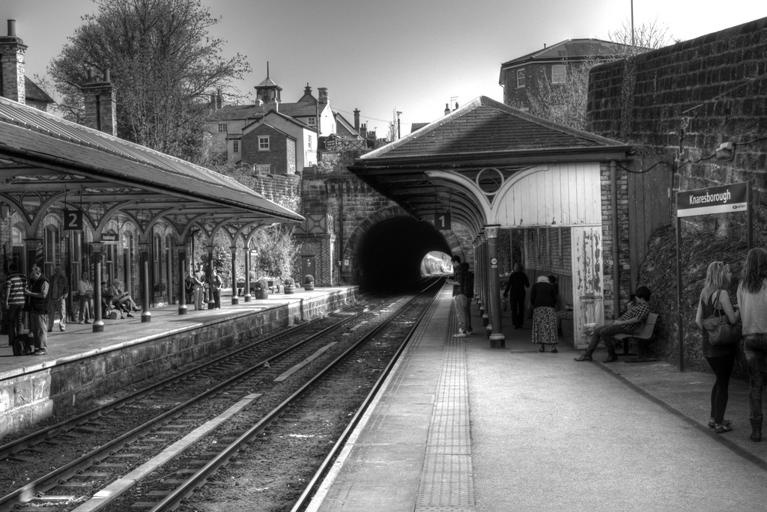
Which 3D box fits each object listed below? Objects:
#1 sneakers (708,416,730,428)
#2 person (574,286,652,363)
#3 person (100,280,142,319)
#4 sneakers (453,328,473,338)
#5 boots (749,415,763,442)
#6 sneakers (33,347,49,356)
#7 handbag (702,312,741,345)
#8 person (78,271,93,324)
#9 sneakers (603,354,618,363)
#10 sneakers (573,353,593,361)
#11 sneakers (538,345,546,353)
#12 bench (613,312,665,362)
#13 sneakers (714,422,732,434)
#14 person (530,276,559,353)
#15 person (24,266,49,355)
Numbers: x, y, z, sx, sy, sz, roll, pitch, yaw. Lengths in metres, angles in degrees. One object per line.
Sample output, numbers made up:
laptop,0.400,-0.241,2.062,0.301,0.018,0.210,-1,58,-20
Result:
sneakers,5.052,2.504,11.161,0.343,0.169,0.135,-4,4,-7
person,5.161,1.507,16.469,1.359,1.637,0.437,-2,0,26
person,-8.793,1.526,24.921,1.183,1.311,1.056,-2,6,-16
sneakers,2.283,2.252,21.763,0.604,0.321,0.235,-2,3,8
boots,5.340,2.504,10.677,0.161,0.372,0.361,-2,11,10
sneakers,-7.177,2.006,15.583,0.254,0.132,0.149,6,-7,-17
handbag,4.985,1.076,10.979,0.407,0.445,0.175,-2,8,15
person,-9.080,1.330,22.695,0.396,1.480,1.387,-1,0,-22
sneakers,4.965,2.285,16.551,0.426,0.195,0.155,1,3,8
sneakers,4.488,2.287,16.742,0.371,0.170,0.208,3,-4,-13
sneakers,3.884,2.260,18.262,0.110,0.161,0.389,-1,-3,4
bench,5.723,1.851,16.837,0.938,1.377,0.989,1,0,-4
sneakers,5.035,2.568,11.114,0.291,0.140,0.116,-8,32,0
person,3.910,1.430,18.225,0.625,2.034,0.635,2,-21,3
person,-7.336,1.200,15.771,0.436,1.898,0.725,-1,0,-28
